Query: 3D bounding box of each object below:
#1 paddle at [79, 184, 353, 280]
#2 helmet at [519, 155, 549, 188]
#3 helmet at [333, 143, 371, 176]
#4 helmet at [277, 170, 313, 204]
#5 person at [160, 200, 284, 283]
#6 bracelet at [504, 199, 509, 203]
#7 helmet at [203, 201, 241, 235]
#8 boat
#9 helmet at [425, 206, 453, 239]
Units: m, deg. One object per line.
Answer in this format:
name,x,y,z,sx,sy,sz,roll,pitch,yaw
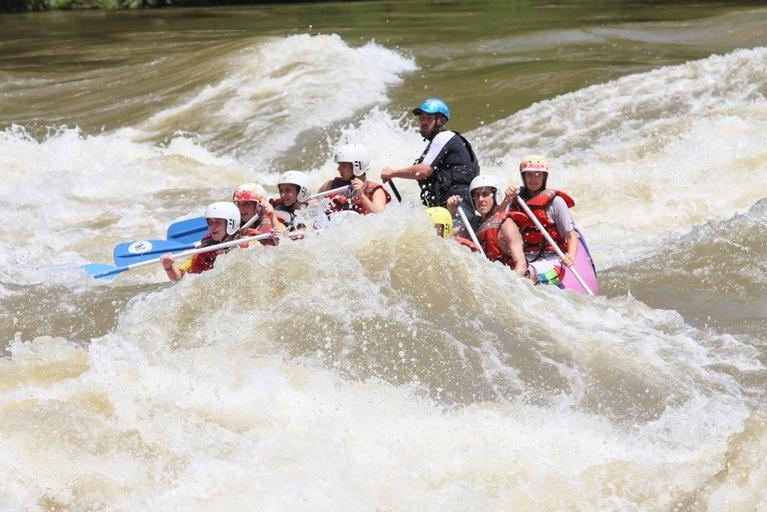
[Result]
paddle,-2.506,-0.310,14.076,4.421,0.203,0.745,-13,35,2
helmet,2.062,-1.185,13.409,0.409,0.422,0.483,1,-3,5
helmet,-0.454,-1.460,14.385,0.568,0.410,0.428,0,8,-16
helmet,-1.377,-1.035,14.027,0.422,0.416,0.493,0,0,43
person,-2.204,-0.161,13.175,1.264,0.696,2.157,-16,0,39
bracelet,1.712,-0.758,13.241,0.059,0.013,0.052,6,-28,1
helmet,-2.187,-0.535,13.132,0.392,0.367,0.523,8,12,44
boat,2.614,0.106,13.515,0.684,0.386,1.112,-29,19,18
helmet,0.715,-0.467,13.043,0.458,0.375,0.356,6,5,-21
